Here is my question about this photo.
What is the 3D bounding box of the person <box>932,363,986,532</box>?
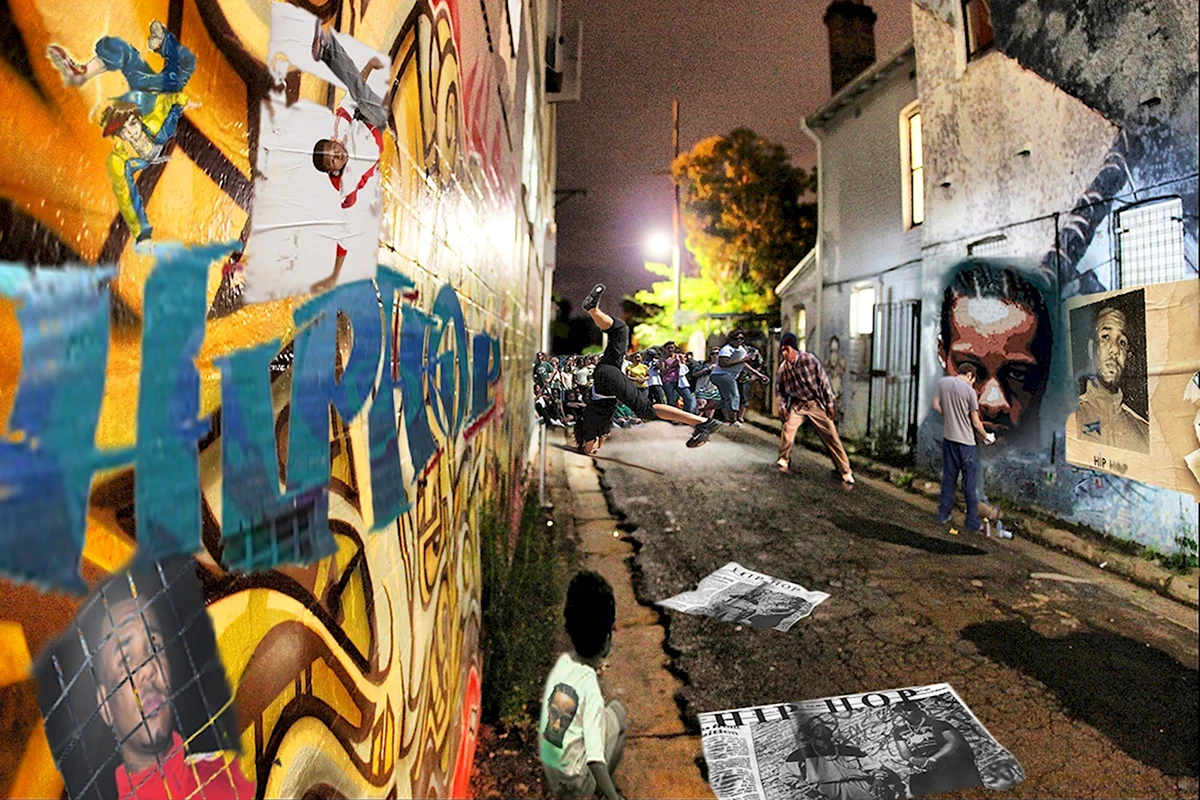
[{"bbox_3d":[3.778,0.487,8.359,0.497,1.592,1.409,5,9,24],"label":"person"}]

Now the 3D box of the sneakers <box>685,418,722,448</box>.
[{"bbox_3d":[1.281,0.431,9.769,0.214,0.519,0.197,35,43,-6],"label":"sneakers"}]

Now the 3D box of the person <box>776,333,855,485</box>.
[{"bbox_3d":[2.666,0.115,9.886,0.972,1.879,1.223,2,8,6],"label":"person"}]

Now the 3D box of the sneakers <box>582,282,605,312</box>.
[{"bbox_3d":[-0.053,-0.792,5.795,0.110,0.278,0.092,-15,51,-34],"label":"sneakers"}]
